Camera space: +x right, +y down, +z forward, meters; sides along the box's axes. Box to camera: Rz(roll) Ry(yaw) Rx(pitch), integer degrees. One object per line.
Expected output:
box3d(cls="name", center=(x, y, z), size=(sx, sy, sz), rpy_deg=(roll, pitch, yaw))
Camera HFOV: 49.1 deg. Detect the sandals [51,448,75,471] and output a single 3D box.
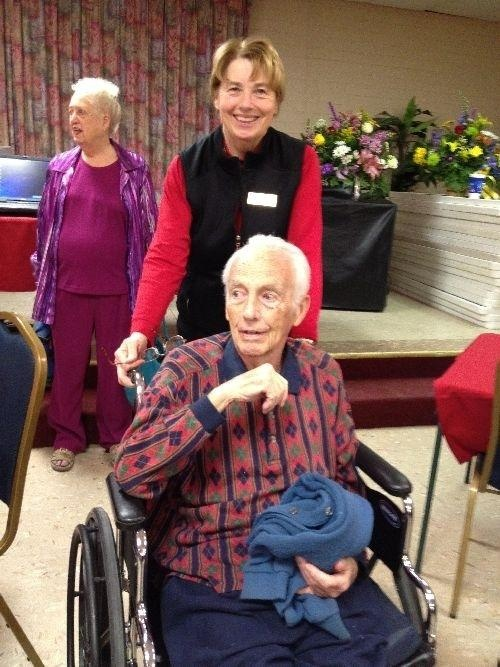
box3d(cls="sandals", center=(-0.907, 0.610, 2.635), size=(0.067, 0.053, 0.130), rpy_deg=(1, 5, -5))
